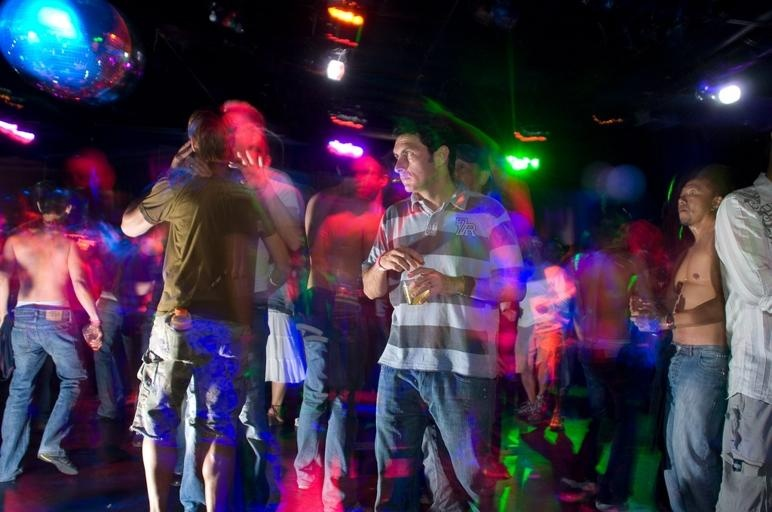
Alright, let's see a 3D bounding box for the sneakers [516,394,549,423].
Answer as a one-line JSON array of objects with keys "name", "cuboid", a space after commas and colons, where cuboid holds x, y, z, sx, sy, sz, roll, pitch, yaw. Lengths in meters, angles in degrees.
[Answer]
[{"name": "sneakers", "cuboid": [1.874, 1.925, 7.437, 0.262, 0.147, 0.418, -10, -5, 36]}]
